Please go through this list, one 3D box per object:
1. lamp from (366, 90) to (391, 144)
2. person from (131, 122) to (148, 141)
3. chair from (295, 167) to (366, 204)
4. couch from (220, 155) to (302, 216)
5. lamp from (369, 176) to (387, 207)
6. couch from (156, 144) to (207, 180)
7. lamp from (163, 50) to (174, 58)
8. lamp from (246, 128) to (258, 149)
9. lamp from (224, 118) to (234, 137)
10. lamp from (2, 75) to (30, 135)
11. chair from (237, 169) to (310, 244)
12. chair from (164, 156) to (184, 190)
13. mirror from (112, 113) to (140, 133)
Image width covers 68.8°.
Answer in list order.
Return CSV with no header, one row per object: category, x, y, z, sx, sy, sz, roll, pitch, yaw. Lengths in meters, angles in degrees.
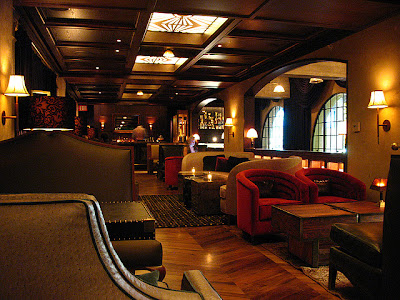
lamp,2.772,-0.510,4.631,0.367,0.853,0.362,-1,2,-29
person,-3.060,-0.885,14.539,0.961,1.113,0.590,1,3,0
chair,1.887,0.531,4.314,0.619,0.574,0.596,1,-15,-9
couch,0.869,0.502,4.847,1.036,0.974,0.975,2,-8,-8
lamp,2.228,0.520,3.605,0.182,0.332,0.193,-1,2,-1
couch,-0.677,0.513,9.744,0.844,1.264,0.918,-6,0,-7
lamp,-0.709,-2.107,6.538,0.194,0.115,0.199,-1,12,-12
lamp,1.602,-0.362,9.224,0.292,0.632,0.570,0,2,5
lamp,0.998,-0.780,10.285,0.250,0.694,0.510,0,2,-10
lamp,-2.411,-0.570,3.812,0.291,0.786,0.779,-1,2,-31
chair,0.977,0.747,4.097,0.851,0.953,0.788,0,-5,-7
chair,-0.732,0.690,8.500,0.620,0.942,0.707,-2,-12,6
mirror,-3.933,-1.388,15.226,1.061,0.797,0.112,0,3,-16
